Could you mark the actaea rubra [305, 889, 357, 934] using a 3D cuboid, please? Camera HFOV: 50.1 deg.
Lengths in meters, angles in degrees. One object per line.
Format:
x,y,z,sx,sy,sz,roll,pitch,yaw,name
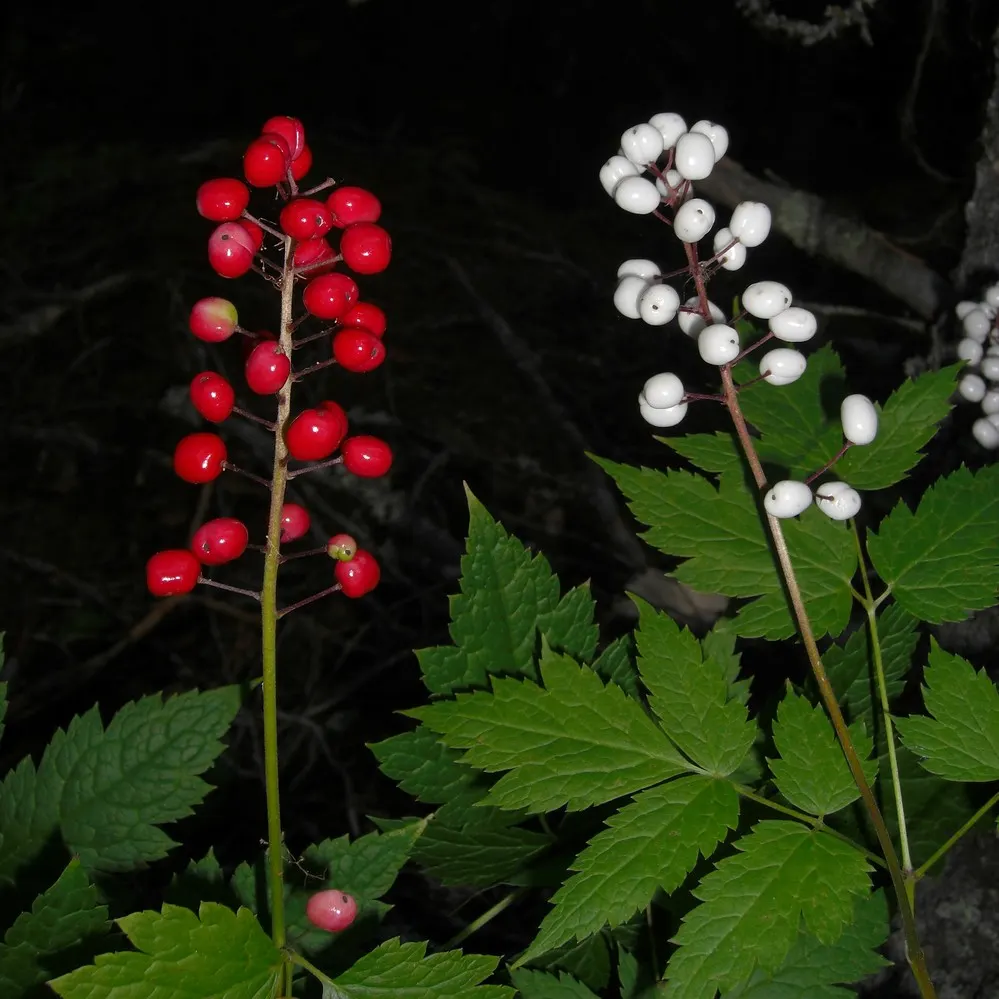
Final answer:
-0.203,0.499,1.289,0.047,0.050,0.041,-22,9,-30,actaea rubra
